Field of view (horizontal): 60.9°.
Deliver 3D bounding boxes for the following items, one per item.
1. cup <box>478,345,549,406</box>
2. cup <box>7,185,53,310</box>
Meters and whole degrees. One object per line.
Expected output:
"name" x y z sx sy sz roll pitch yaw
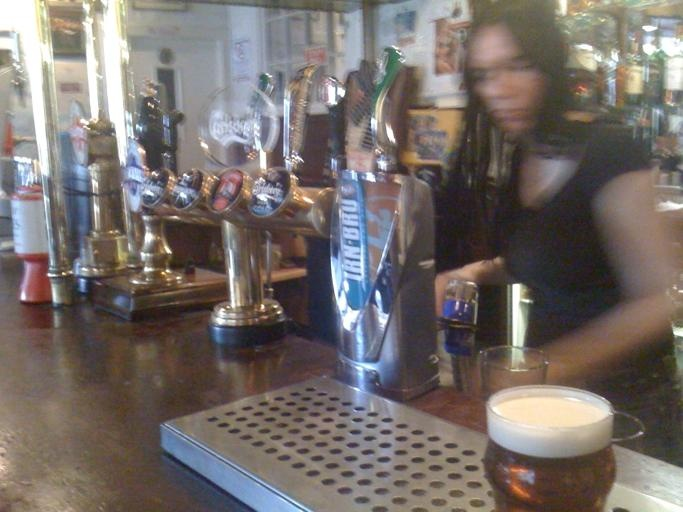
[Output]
"cup" 0.247 0.170 0.852 0.082 0.088 0.084 -1 -2 0
"cup" -0.884 -0.031 1.652 0.102 0.323 0.133 -8 13 -18
